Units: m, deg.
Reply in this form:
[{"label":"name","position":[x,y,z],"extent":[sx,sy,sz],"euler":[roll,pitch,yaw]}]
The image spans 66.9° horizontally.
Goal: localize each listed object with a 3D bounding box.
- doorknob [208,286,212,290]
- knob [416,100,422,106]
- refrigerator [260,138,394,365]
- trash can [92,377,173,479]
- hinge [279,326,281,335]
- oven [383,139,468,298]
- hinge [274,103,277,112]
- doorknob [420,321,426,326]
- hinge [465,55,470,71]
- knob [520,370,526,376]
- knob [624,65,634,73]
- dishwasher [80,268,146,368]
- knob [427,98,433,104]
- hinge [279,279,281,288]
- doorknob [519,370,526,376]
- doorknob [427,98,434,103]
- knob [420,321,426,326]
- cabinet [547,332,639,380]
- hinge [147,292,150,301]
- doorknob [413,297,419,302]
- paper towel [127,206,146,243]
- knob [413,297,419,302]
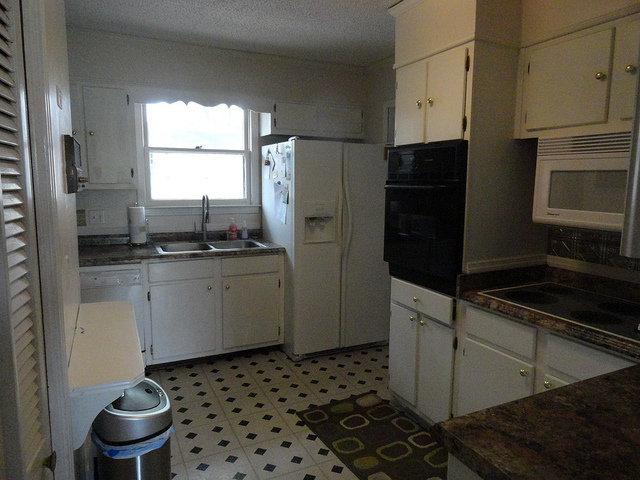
[{"label":"doorknob","position":[-0.886,0.384,3.875],"extent":[0.028,0.022,0.029],"euler":[0,5,-4]},{"label":"knob","position":[0.614,-0.845,3.011],"extent":[0.025,0.026,0.026],"euler":[-10,19,-32]},{"label":"refrigerator","position":[0.034,0.006,4.332],"extent":[0.984,2.090,0.887],"euler":[-3,7,-22]},{"label":"trash can","position":[-0.828,0.899,2.187],"extent":[0.269,0.406,0.317],"euler":[10,15,41]},{"label":"hinge","position":[-0.347,0.780,4.174],"extent":[0.017,0.088,0.019],"euler":[7,11,39]},{"label":"oven","position":[0.817,-0.151,3.177],"extent":[0.615,0.904,0.702],"euler":[-5,9,-43]},{"label":"hinge","position":[-0.416,-1.232,4.532],"extent":[0.025,0.075,0.022],"euler":[-2,11,-7]},{"label":"doorknob","position":[0.647,0.532,3.052],"extent":[0.026,0.026,0.017],"euler":[0,6,-5]},{"label":"hinge","position":[0.812,-0.972,2.670],"extent":[0.018,0.069,0.024],"euler":[2,2,-10]},{"label":"knob","position":[1.019,0.673,2.438],"extent":[0.022,0.016,0.023],"euler":[-1,8,-13]},{"label":"knob","position":[1.433,-0.795,2.250],"extent":[0.025,0.027,0.027],"euler":[12,19,11]},{"label":"dishwasher","position":[-1.544,0.650,3.695],"extent":[0.503,0.760,0.490],"euler":[6,-23,-38]},{"label":"knob","position":[0.664,-0.840,2.926],"extent":[0.033,0.019,0.046],"euler":[1,15,9]},{"label":"hinge","position":[-0.343,0.379,4.126],"extent":[0.016,0.084,0.019],"euler":[6,12,30]},{"label":"doorknob","position":[1.018,0.672,2.441],"extent":[0.022,0.023,0.022],"euler":[7,16,24]},{"label":"doorknob","position":[0.662,-0.840,2.927],"extent":[0.017,0.025,0.023],"euler":[11,18,30]},{"label":"knob","position":[0.647,0.527,3.050],"extent":[0.047,0.012,0.033],"euler":[-3,11,-29]},{"label":"cabinet","position":[1.192,0.545,2.208],"extent":[0.178,0.145,0.273],"euler":[-1,5,-17]},{"label":"hinge","position":[-1.312,0.439,3.713],"extent":[0.012,0.063,0.006],"euler":[1,11,5]},{"label":"doorknob","position":[0.606,0.381,3.082],"extent":[0.023,0.026,0.015],"euler":[-28,-8,6]},{"label":"paper towel","position":[-1.550,-0.126,4.105],"extent":[0.141,0.302,0.153],"euler":[-5,12,-21]},{"label":"knob","position":[0.608,0.383,3.080],"extent":[0.014,0.030,0.022],"euler":[6,11,2]}]
